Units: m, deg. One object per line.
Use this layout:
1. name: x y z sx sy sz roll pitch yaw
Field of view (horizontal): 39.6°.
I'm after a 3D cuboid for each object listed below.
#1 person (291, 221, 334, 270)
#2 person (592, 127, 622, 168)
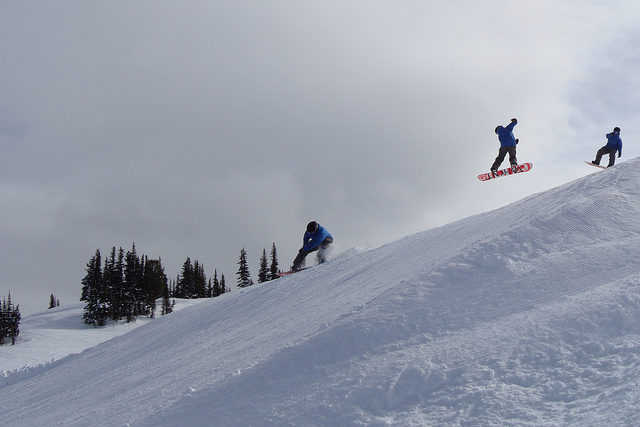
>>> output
1. person: -0.310 1.348 37.319 1.503 1.956 0.532 -2 -2 18
2. person: 12.680 -2.912 38.782 0.957 2.009 0.781 17 -22 20
